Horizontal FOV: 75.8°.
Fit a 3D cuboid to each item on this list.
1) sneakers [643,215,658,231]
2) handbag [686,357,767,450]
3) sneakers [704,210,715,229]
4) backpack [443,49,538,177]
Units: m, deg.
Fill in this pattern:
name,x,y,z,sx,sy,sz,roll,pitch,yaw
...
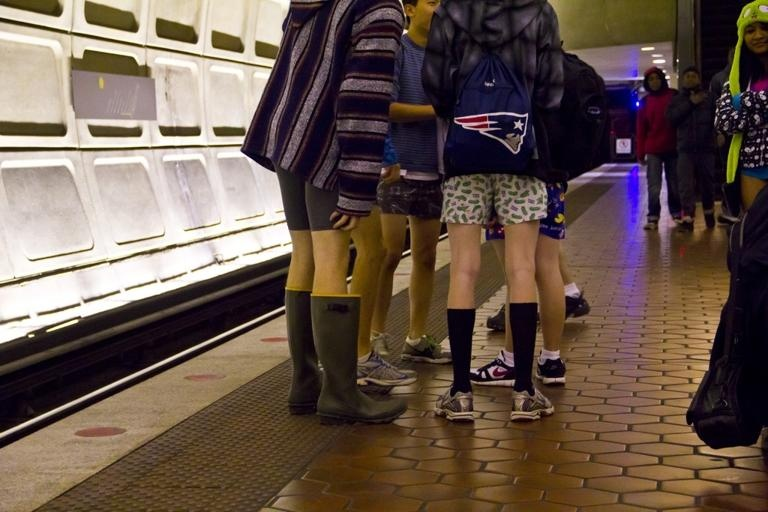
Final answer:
name,x,y,z,sx,sy,sz,roll,pitch,yaw
sneakers,5.096,-0.622,9.401,0.233,0.249,0.518,2,9,28
handbag,1.445,0.629,2.060,0.217,0.293,0.411,-14,33,36
sneakers,6.227,-0.677,9.401,0.174,0.449,0.173,-4,-3,20
backpack,0.541,-0.686,2.504,0.489,0.593,0.205,0,8,12
